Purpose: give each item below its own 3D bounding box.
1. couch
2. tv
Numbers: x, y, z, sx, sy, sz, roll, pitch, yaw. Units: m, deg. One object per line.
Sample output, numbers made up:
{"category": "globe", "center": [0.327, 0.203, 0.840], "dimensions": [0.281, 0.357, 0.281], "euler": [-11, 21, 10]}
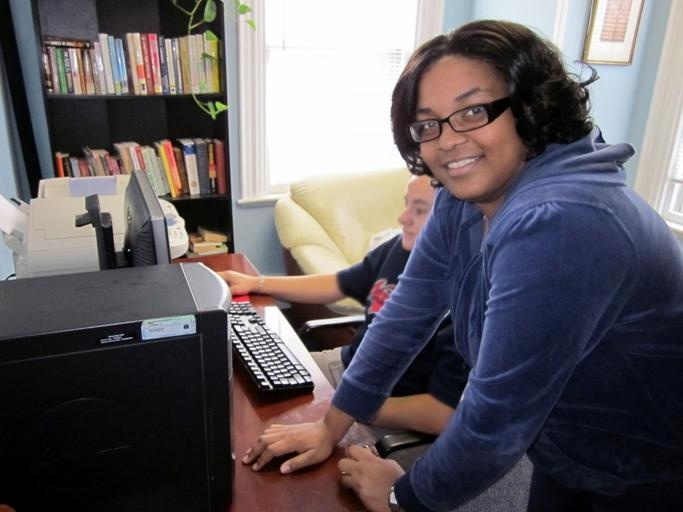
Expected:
{"category": "couch", "center": [0.016, -0.227, 3.208], "dimensions": [0.996, 0.927, 0.956], "euler": [-19, 31, -29]}
{"category": "tv", "center": [-0.642, -0.095, 1.428], "dimensions": [0.163, 0.230, 0.308], "euler": [-5, 23, -22]}
